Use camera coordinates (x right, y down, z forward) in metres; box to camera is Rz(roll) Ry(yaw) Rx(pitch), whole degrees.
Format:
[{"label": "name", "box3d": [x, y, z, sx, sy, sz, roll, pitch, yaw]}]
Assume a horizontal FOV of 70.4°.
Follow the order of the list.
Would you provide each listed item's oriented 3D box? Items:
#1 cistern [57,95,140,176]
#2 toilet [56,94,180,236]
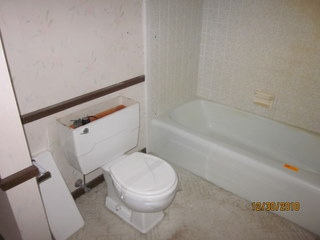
[{"label": "cistern", "box3d": [-0.514, 0.130, 1.844, 0.221, 0.379, 0.543, 19, 32, 32]}, {"label": "toilet", "box3d": [-0.272, 0.387, 1.935, 0.911, 0.904, 0.623, 19, 37, 27]}]
